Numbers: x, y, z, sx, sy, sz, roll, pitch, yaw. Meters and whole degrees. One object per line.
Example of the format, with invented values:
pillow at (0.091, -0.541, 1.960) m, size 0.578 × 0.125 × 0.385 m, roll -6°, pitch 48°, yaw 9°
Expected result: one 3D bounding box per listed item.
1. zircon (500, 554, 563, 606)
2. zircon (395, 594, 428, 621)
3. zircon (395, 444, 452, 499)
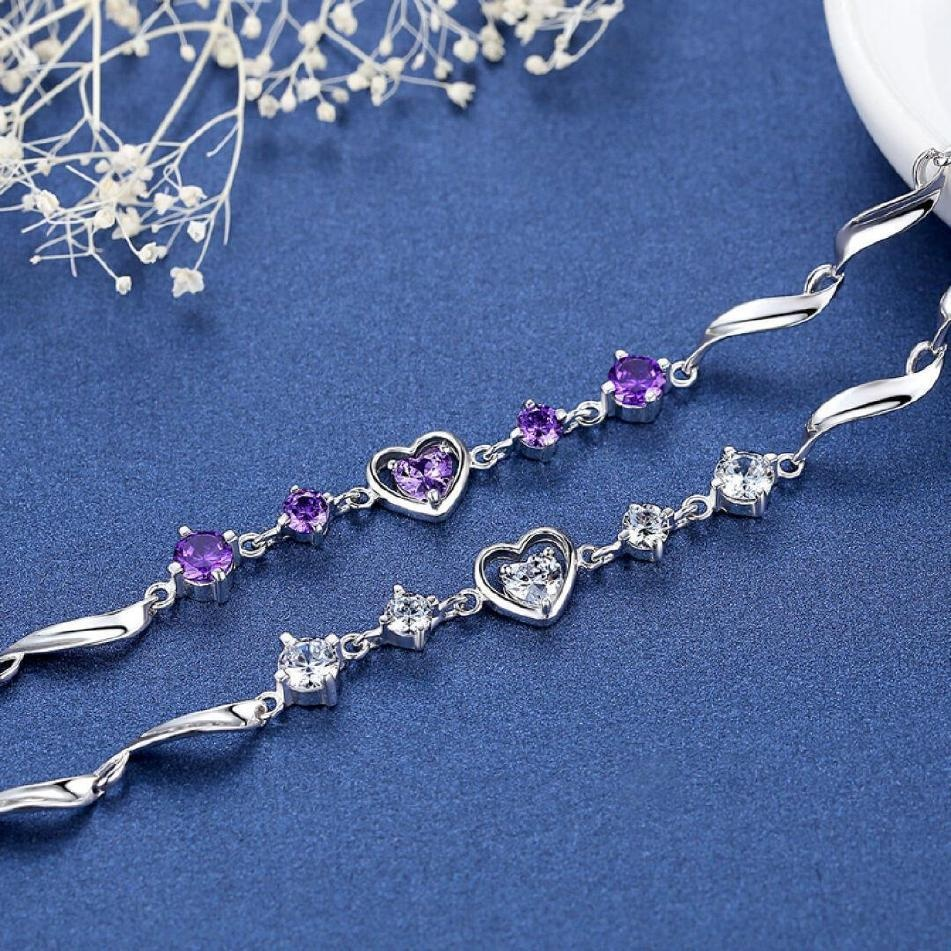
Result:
zircon at (0.069, 0.127, 1.867) m, size 0.056 × 0.062 × 0.021 m, roll -12°, pitch -29°, yaw -8°
zircon at (-0.071, 0.151, 1.823) m, size 0.040 × 0.026 × 0.013 m, roll -13°, pitch -5°, yaw -7°
zircon at (-0.059, 0.001, 1.951) m, size 0.058 × 0.063 × 0.025 m, roll -18°, pitch -22°, yaw -9°
